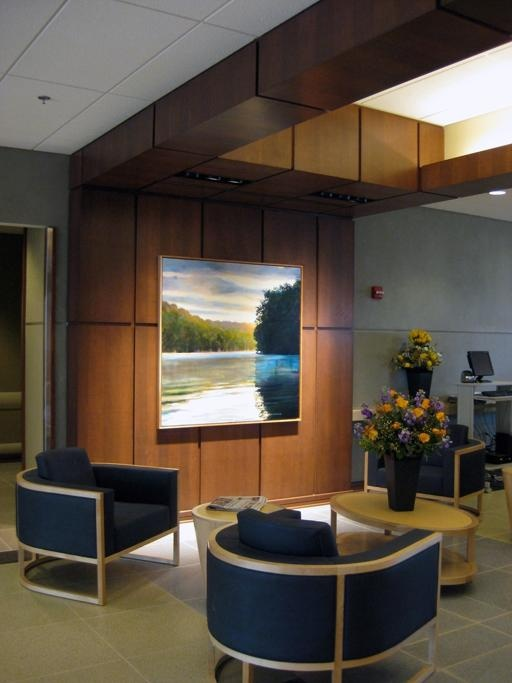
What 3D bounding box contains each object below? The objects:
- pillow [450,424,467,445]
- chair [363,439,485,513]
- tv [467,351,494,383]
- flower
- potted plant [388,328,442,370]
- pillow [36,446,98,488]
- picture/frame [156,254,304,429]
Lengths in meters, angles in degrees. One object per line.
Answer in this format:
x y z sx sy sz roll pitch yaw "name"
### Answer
2.092 0.963 6.032 0.188 0.202 0.168 5 25 32 "pillow"
1.746 1.375 5.994 0.982 0.741 0.825 -2 -2 41 "chair"
2.988 0.336 7.848 0.404 0.410 0.129 2 -20 -42 "tv"
1.117 0.726 4.454 0.666 0.629 0.638 -3 -12 -15 "flower"
2.045 0.115 7.529 0.541 0.608 0.532 3 -4 -30 "potted plant"
-1.398 0.926 4.335 0.112 0.404 0.448 -29 -27 23 "pillow"
-0.316 0.005 5.748 1.750 1.880 0.077 1 -3 -31 "picture/frame"
